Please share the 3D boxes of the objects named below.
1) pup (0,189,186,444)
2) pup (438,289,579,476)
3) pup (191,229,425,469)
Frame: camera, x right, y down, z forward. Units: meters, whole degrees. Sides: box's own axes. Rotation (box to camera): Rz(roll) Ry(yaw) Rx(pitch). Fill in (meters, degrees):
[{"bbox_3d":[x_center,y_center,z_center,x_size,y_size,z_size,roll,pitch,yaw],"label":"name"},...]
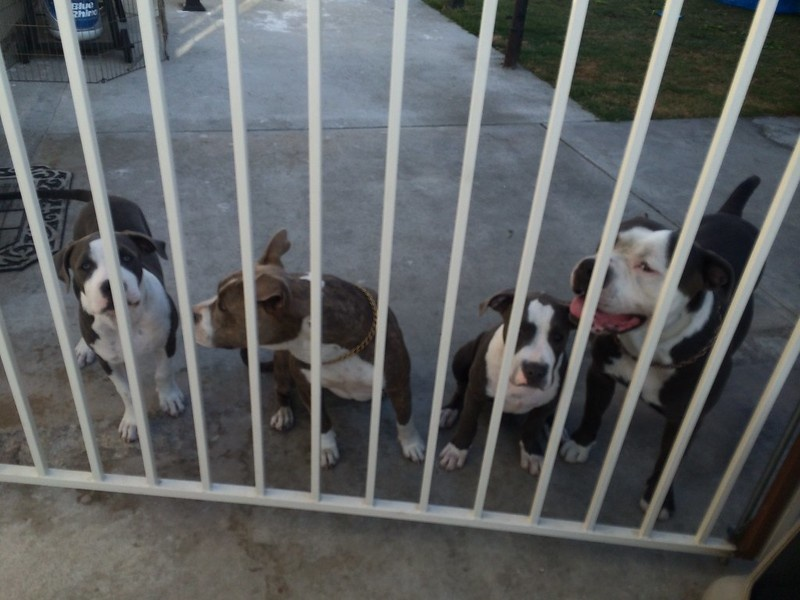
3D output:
[{"bbox_3d":[-1.656,0.149,3.259,0.461,0.889,1.522,-13,53,-16],"label":"pup"},{"bbox_3d":[0.597,0.349,3.358,0.616,1.028,1.292,8,17,5],"label":"pup"},{"bbox_3d":[-0.585,0.217,3.292,1.092,1.165,1.395,-11,22,-33],"label":"pup"}]
